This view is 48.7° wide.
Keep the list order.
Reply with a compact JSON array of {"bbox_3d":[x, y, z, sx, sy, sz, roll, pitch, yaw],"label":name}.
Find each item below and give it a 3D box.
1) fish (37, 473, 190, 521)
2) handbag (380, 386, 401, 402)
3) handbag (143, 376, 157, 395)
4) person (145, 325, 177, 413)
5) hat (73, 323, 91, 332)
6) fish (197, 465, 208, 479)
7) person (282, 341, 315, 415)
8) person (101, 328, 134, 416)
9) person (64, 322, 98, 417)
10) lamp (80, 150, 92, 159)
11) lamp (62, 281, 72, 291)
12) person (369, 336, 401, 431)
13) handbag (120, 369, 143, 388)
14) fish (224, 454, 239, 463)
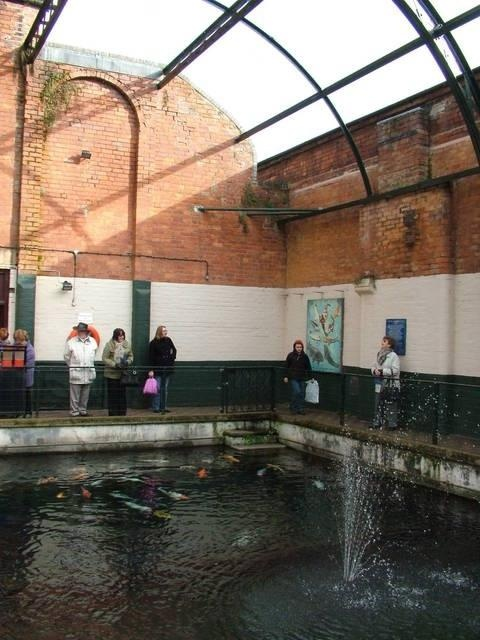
[{"bbox_3d":[-1.606,2.222,6.895,2.293,0.125,1.323,-2,-5,24],"label":"fish"},{"bbox_3d":[2.460,1.210,8.653,0.102,0.265,0.296,0,1,-37],"label":"handbag"},{"bbox_3d":[-1.774,1.316,10.554,0.270,0.338,0.279,1,-5,-8],"label":"handbag"},{"bbox_3d":[-1.607,1.000,10.954,0.549,1.722,1.021,1,-5,-9],"label":"person"},{"bbox_3d":[-3.067,0.161,10.321,0.293,0.122,0.328,12,0,-17],"label":"hat"},{"bbox_3d":[-0.558,2.302,7.931,0.137,0.109,0.096,-5,8,-13],"label":"fish"},{"bbox_3d":[1.177,1.164,10.873,0.540,1.456,1.036,0,-5,5],"label":"person"},{"bbox_3d":[-2.382,0.997,10.237,0.544,1.636,0.520,2,-5,-14],"label":"person"},{"bbox_3d":[-3.000,0.923,9.972,0.569,1.711,0.680,2,-5,-18],"label":"person"},{"bbox_3d":[-3.312,-3.546,11.415,0.226,0.207,0.181,3,-5,-24],"label":"lamp"},{"bbox_3d":[-3.632,-0.697,11.154,0.187,0.200,0.215,0,1,-5],"label":"lamp"},{"bbox_3d":[2.480,1.039,9.003,0.455,1.521,1.291,-1,-5,14],"label":"person"},{"bbox_3d":[-2.114,1.119,10.199,0.450,0.406,0.173,3,2,-31],"label":"handbag"},{"bbox_3d":[-0.154,2.404,9.172,0.085,0.097,0.250,-4,12,-34],"label":"fish"}]
